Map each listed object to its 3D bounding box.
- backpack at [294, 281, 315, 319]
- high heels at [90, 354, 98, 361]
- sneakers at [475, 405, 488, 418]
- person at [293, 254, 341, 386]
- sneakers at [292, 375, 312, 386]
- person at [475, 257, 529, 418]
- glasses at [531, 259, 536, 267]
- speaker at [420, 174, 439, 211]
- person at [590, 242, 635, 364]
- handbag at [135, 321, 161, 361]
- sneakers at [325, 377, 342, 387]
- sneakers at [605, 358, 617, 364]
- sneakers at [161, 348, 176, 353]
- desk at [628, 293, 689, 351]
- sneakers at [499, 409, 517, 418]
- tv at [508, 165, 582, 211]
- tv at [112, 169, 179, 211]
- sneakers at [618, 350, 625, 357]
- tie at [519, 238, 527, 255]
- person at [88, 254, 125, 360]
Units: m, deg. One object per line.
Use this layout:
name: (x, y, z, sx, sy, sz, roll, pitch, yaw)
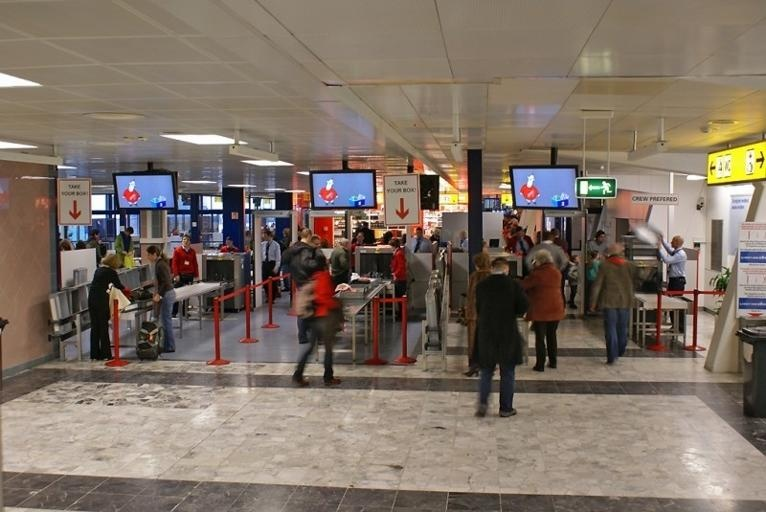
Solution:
backpack: (-1.105, 0.683, 9.548, 0.203, 0.531, 0.386, 12, -16, -39)
high heels: (-5.169, 1.823, 11.289, 0.133, 0.127, 0.071, 0, -5, 4)
sneakers: (1.315, 2.082, 8.419, 0.175, 0.159, 0.170, 0, -4, 1)
person: (-0.986, 1.041, 9.648, 0.749, 1.915, 0.545, -1, 8, -4)
sneakers: (-1.263, 1.936, 9.748, 0.275, 0.169, 0.127, -4, 9, -29)
person: (1.548, 1.210, 8.315, 0.670, 1.885, 0.446, 0, 8, 8)
glasses: (2.445, 0.103, 10.191, 0.059, 0.073, 0.078, -1, -13, 16)
speaker: (1.175, -1.598, 15.795, 0.431, 0.873, 0.587, -1, 8, 2)
person: (3.925, 0.830, 10.790, 0.946, 2.037, 0.499, -7, 10, -35)
handbag: (-4.154, 1.523, 11.189, 0.427, 0.664, 0.247, -1, 8, -4)
sneakers: (-0.766, 1.967, 9.733, 0.248, 0.101, 0.111, -1, 4, -1)
sneakers: (3.873, 1.800, 10.679, 0.135, 0.130, 0.083, -1, 4, 17)
sneakers: (-3.997, 1.780, 11.799, 0.272, 0.084, 0.161, -6, 9, -33)
desk: (5.507, 1.067, 12.615, 0.954, 0.766, 1.660, 1, 1, 14)
sneakers: (1.662, 2.110, 8.377, 0.250, 0.101, 0.089, -3, 3, -8)
tv: (3.160, -1.313, 12.112, 0.948, 0.622, 0.131, 0, 2, 19)
tv: (-5.441, -1.511, 14.468, 1.556, 0.868, 0.317, 1, 8, 10)
sneakers: (4.292, 1.770, 11.273, 0.113, 0.108, 0.106, 4, 39, 12)
tie: (3.702, -0.233, 16.568, 0.238, 0.381, 0.095, 0, -10, 9)
person: (-5.005, 0.934, 11.348, 0.602, 1.857, 0.467, -6, 9, -31)
